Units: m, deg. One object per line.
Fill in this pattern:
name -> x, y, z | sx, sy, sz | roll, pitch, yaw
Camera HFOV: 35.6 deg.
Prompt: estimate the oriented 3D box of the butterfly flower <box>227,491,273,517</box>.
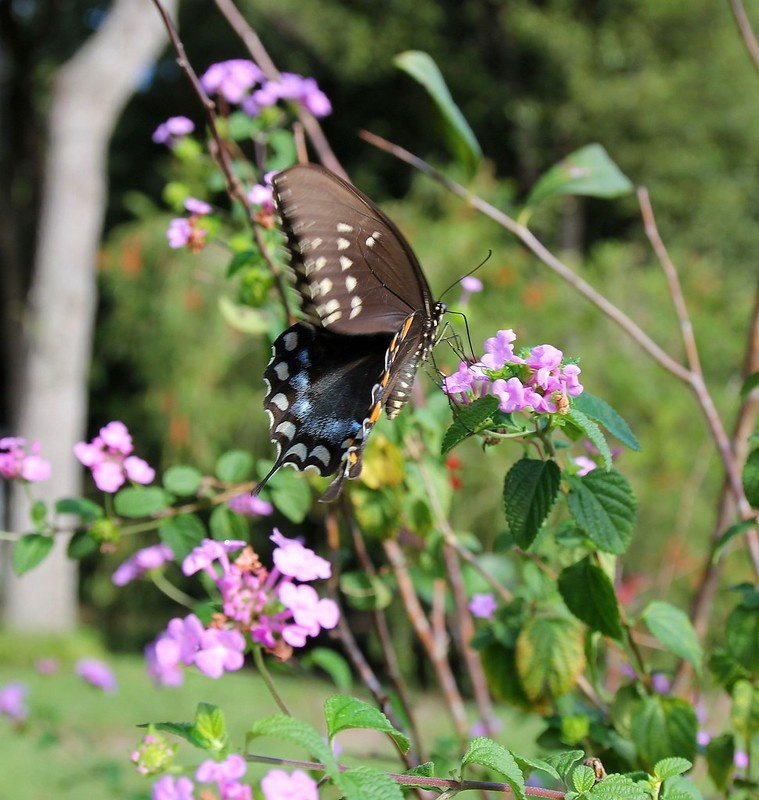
butterfly flower -> -0.432, 0.332, 3.894 | 0.126, 0.043, 0.133 | -1, -16, 35
